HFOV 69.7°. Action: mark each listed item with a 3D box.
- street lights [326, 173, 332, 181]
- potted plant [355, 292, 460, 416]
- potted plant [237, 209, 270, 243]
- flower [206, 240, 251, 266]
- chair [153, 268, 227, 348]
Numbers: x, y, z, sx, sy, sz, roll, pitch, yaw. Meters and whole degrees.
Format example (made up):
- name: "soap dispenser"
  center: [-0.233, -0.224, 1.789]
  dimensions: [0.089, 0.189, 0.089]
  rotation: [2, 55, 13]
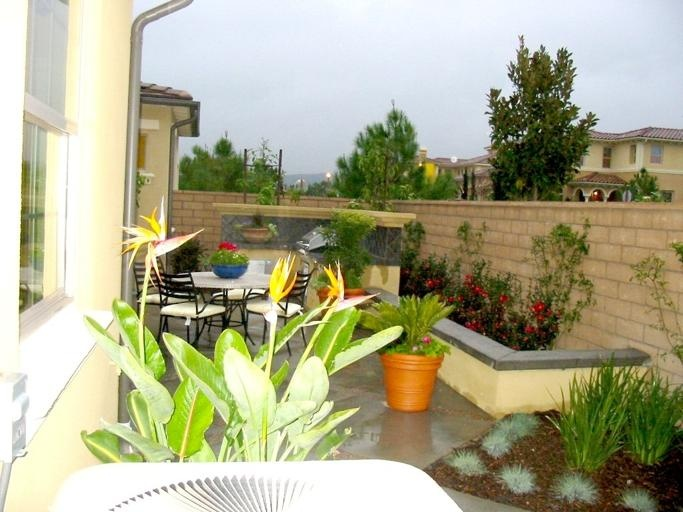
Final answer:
- name: "street lights"
  center: [-0.627, -4.029, 24.690]
  dimensions: [0.226, 0.444, 0.250]
  rotation: [0, -18, -3]
- name: "potted plant"
  center: [0.621, 0.979, 4.471]
  dimensions: [0.805, 0.887, 0.800]
  rotation: [2, -11, -24]
- name: "potted plant"
  center: [-1.750, -0.619, 9.804]
  dimensions: [0.540, 0.617, 0.598]
  rotation: [-3, 5, -29]
- name: "flower"
  center: [-1.399, 0.001, 6.166]
  dimensions: [0.369, 0.298, 0.374]
  rotation: [4, 1, 6]
- name: "chair"
  center: [-1.746, 0.606, 5.686]
  dimensions: [0.669, 1.136, 0.731]
  rotation: [8, 16, 27]
